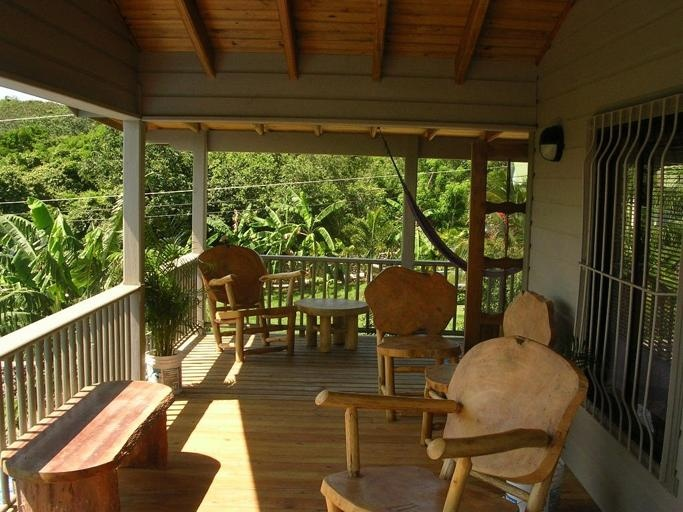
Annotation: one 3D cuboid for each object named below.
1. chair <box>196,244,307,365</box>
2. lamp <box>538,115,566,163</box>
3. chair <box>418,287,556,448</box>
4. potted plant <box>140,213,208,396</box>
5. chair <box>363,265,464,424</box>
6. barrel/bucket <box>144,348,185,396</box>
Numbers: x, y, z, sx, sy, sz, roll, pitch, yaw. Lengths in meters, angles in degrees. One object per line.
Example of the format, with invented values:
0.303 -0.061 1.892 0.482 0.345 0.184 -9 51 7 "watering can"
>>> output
-1.080 0.491 5.995 0.953 1.226 1.071 -2 -1 33 "chair"
1.640 -0.903 4.191 0.149 0.325 0.233 1 8 7 "lamp"
0.883 0.763 3.547 0.819 1.207 0.744 11 -1 -1 "chair"
-1.622 0.462 4.820 0.777 1.472 0.790 0 -7 -2 "potted plant"
0.558 0.690 4.225 0.756 1.069 0.747 -1 4 -2 "chair"
-1.538 0.996 4.755 0.341 0.399 0.354 1 5 0 "barrel/bucket"
